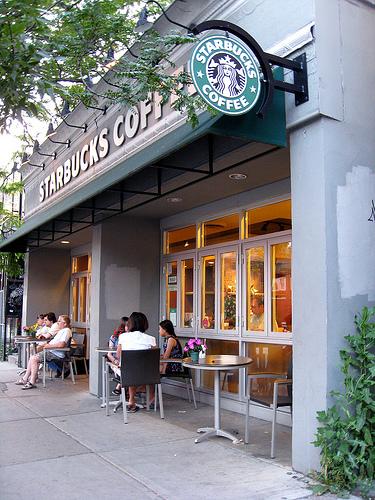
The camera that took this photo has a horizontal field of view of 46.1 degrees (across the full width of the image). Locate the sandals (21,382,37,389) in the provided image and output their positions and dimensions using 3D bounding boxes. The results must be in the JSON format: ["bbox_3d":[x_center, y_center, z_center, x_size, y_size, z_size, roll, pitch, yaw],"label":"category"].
[{"bbox_3d":[-3.018,2.566,8.369,0.251,0.099,0.145,10,-14,-26],"label":"sandals"}]

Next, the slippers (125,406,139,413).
[{"bbox_3d":[-0.799,2.295,6.335,0.065,0.066,0.187,0,-8,9],"label":"slippers"}]
